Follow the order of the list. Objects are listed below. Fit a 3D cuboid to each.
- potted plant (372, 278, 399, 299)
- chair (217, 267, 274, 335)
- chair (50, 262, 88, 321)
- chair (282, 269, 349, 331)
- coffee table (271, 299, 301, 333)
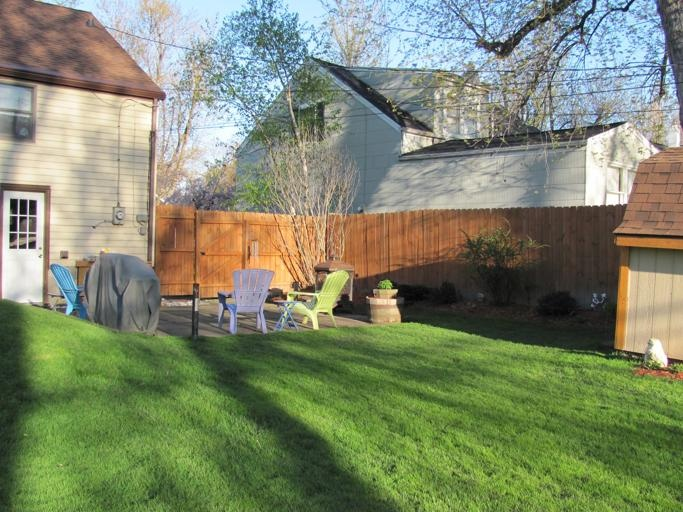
[{"bbox_3d":[0.860,0.717,12.275,0.399,0.428,0.451,0,-6,-2],"label":"potted plant"},{"bbox_3d":[-1.662,0.761,10.679,0.879,1.219,1.237,-2,5,-32],"label":"chair"},{"bbox_3d":[-4.569,0.634,10.223,0.421,0.912,0.961,-3,9,-35],"label":"chair"},{"bbox_3d":[-0.758,0.797,11.315,1.208,1.218,0.907,-2,-2,44],"label":"chair"},{"bbox_3d":[-1.030,1.076,10.818,0.361,0.702,0.578,-3,-12,24],"label":"coffee table"}]
